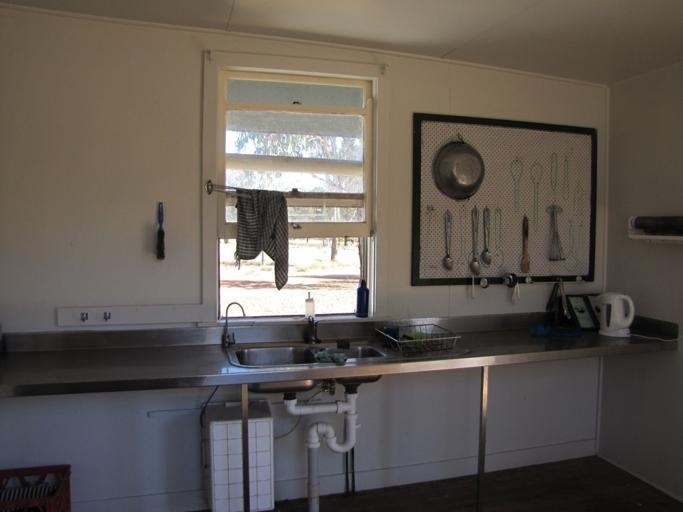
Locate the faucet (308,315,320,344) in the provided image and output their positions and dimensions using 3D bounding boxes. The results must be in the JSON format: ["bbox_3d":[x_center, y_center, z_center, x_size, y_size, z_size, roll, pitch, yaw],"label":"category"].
[{"bbox_3d":[-0.181,0.464,3.943,0.076,0.171,0.222,0,15,-4],"label":"faucet"}]

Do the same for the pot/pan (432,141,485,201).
[{"bbox_3d":[0.821,-0.584,4.110,0.341,0.388,0.220,3,5,-20],"label":"pot/pan"}]

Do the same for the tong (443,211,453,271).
[{"bbox_3d":[0.755,-0.110,4.163,0.081,0.412,0.103,4,14,10],"label":"tong"}]

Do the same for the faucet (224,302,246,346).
[{"bbox_3d":[-0.702,0.420,3.863,0.135,0.257,0.339,1,15,0],"label":"faucet"}]

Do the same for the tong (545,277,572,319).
[{"bbox_3d":[1.584,0.305,4.304,0.064,0.285,0.147,-5,7,-44],"label":"tong"}]

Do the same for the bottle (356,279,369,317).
[{"bbox_3d":[0.152,0.294,4.054,0.091,0.240,0.094,1,14,0],"label":"bottle"}]

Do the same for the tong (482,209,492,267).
[{"bbox_3d":[1.049,-0.140,4.243,0.075,0.406,0.104,3,13,6],"label":"tong"}]

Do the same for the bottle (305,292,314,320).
[{"bbox_3d":[-0.204,0.344,3.947,0.063,0.175,0.208,1,15,-2],"label":"bottle"}]

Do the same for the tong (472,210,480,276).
[{"bbox_3d":[0.962,-0.100,4.215,0.073,0.479,0.113,1,13,-1],"label":"tong"}]
